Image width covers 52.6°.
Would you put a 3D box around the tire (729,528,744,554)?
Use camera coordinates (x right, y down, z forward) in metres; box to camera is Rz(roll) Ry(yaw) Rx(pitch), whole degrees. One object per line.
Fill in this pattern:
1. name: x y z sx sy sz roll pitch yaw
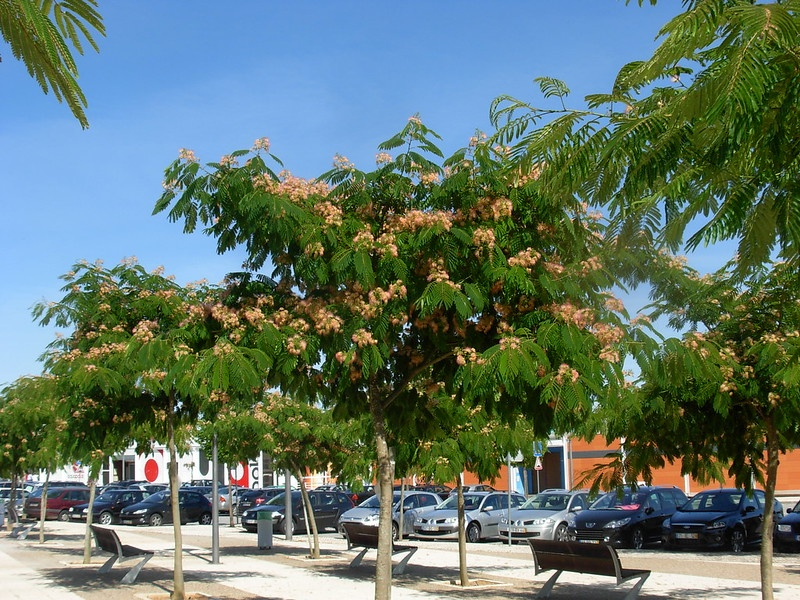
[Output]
1. tire: 9.131 6.494 21.950 0.148 0.482 0.491 -3 -53 46

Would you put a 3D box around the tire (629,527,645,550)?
1. tire: 6.729 6.755 23.061 0.168 0.517 0.487 -6 -31 44

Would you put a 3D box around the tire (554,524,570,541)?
1. tire: 4.983 7.051 24.768 0.602 0.439 0.320 11 -19 -40

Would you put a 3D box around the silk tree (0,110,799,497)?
1. silk tree: 0.528 0.419 11.106 6.603 3.139 6.547 -3 5 -40
